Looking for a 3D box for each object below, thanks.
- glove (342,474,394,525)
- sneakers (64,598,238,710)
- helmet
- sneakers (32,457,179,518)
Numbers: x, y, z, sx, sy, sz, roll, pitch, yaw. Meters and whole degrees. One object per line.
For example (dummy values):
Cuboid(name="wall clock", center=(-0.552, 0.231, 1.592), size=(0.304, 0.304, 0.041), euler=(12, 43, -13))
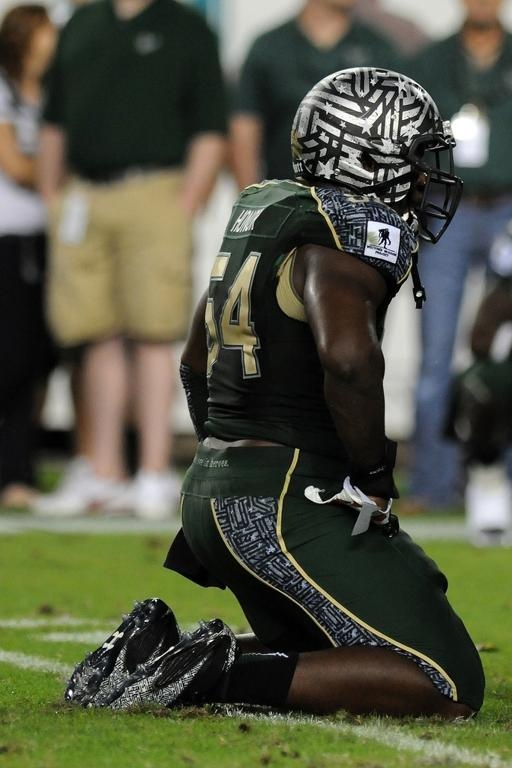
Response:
Cuboid(name="glove", center=(0.196, 0.213, 1.630), size=(0.096, 0.071, 0.036), euler=(42, 7, 18))
Cuboid(name="sneakers", center=(-0.181, 0.481, 1.592), size=(0.178, 0.258, 0.098), euler=(51, -5, -5))
Cuboid(name="helmet", center=(0.196, -0.512, 1.868), size=(0.351, 0.231, 0.241), euler=(-1, 8, -8))
Cuboid(name="sneakers", center=(-0.790, 0.587, 4.898), size=(0.716, 0.270, 0.229), euler=(10, -16, -33))
